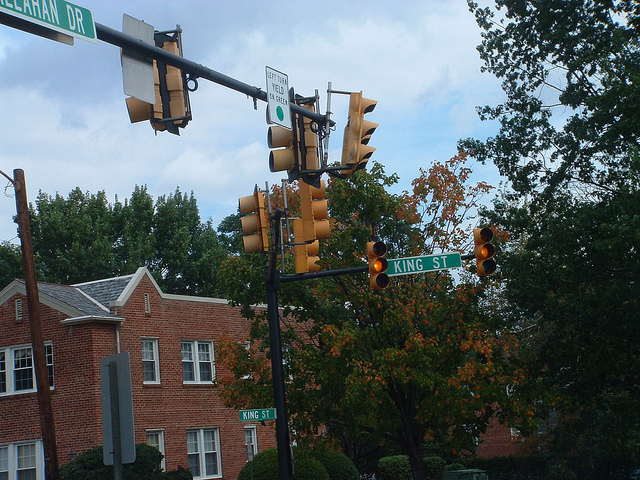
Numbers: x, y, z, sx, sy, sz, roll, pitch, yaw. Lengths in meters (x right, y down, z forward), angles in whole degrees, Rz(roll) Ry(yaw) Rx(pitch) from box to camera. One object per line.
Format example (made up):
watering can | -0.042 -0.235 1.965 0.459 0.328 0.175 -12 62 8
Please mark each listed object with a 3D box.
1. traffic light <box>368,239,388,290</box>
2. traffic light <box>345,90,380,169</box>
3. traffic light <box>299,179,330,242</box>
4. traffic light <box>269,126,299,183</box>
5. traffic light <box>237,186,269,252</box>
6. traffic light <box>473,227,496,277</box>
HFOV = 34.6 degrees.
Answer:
traffic light | 1.841 0.748 32.467 0.575 1.472 0.765 -5 -10 2
traffic light | 1.257 -3.415 30.126 0.690 1.873 0.618 7 -41 -5
traffic light | -0.164 -0.930 31.988 0.785 2.242 0.585 0 -23 -11
traffic light | -1.025 -2.710 30.593 0.883 1.784 0.799 -4 -7 0
traffic light | -2.109 -0.662 32.585 0.783 2.048 1.277 -6 -11 6
traffic light | 5.202 0.325 32.525 0.615 1.483 0.640 -7 -10 11
